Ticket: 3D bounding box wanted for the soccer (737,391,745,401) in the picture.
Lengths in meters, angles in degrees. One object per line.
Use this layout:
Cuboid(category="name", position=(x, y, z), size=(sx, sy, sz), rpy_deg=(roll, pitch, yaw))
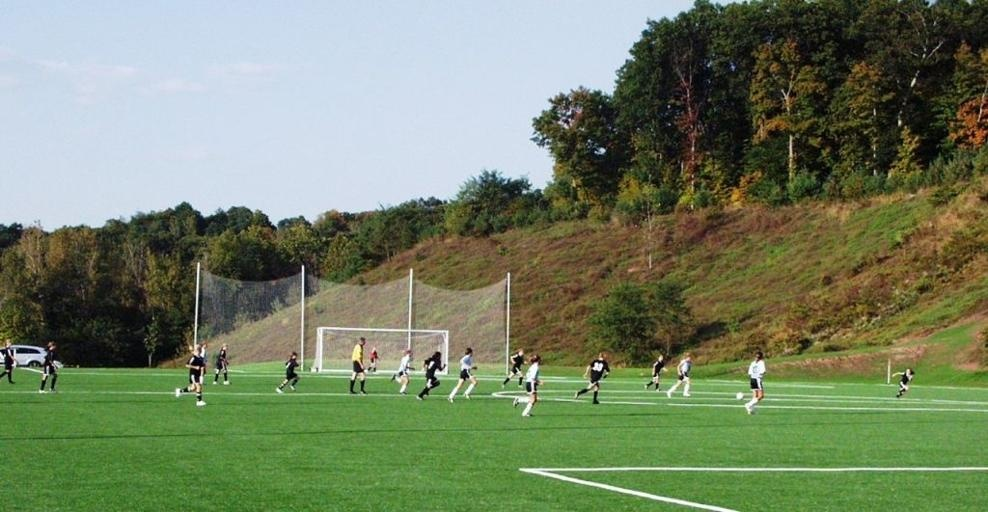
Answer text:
Cuboid(category="soccer", position=(23.607, 13.437, 121.888), size=(0.671, 0.475, 0.850), rpy_deg=(0, 0, 6))
